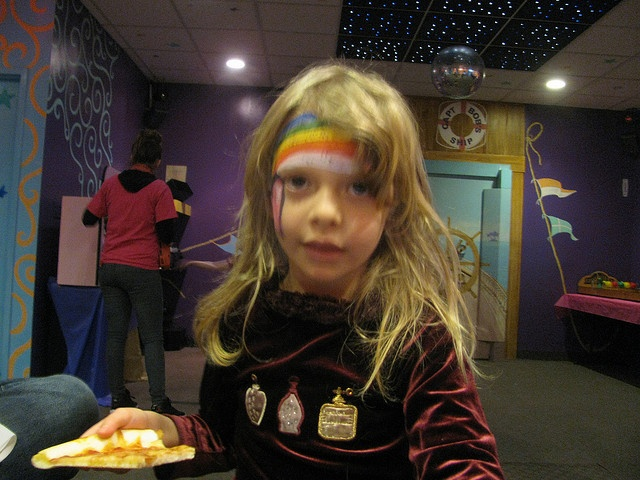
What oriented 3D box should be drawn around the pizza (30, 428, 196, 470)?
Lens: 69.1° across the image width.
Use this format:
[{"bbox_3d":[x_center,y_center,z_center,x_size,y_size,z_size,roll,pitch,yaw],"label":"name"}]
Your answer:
[{"bbox_3d":[-0.438,0.452,0.999,0.216,0.039,0.142,4,-8,-6],"label":"pizza"}]
